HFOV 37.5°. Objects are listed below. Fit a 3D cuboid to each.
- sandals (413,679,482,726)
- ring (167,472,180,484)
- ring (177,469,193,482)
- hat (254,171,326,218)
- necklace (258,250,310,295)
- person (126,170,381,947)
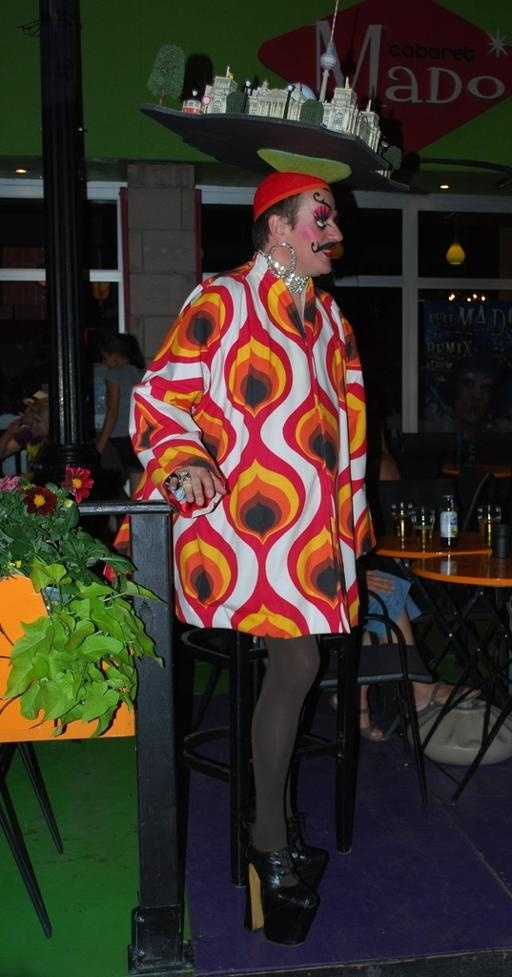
[{"bbox_3d":[0.758,0.843,3.070,0.239,0.082,0.179,0,15,-24],"label":"sandals"},{"bbox_3d":[-0.153,-0.019,1.410,0.023,0.032,0.017,2,2,-14],"label":"ring"},{"bbox_3d":[-0.134,-0.023,1.402,0.025,0.019,0.013,-2,0,7],"label":"ring"},{"bbox_3d":[0.078,-0.690,1.776,0.131,0.096,0.116,-19,4,-10],"label":"hat"},{"bbox_3d":[0.073,-0.485,1.736,0.079,0.104,0.043,-23,4,-25],"label":"necklace"},{"bbox_3d":[0.018,0.134,1.736,0.353,1.487,0.809,-2,-1,35],"label":"person"}]
